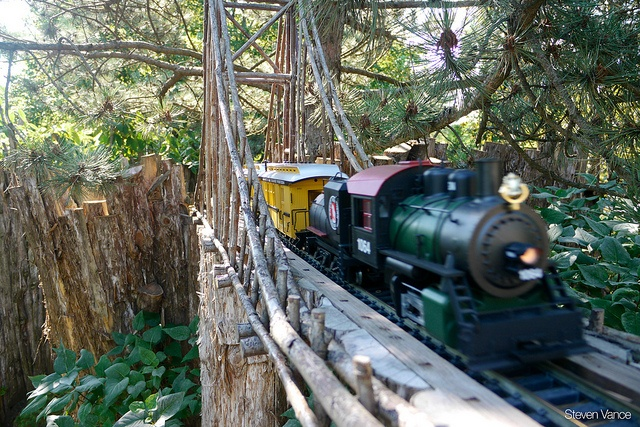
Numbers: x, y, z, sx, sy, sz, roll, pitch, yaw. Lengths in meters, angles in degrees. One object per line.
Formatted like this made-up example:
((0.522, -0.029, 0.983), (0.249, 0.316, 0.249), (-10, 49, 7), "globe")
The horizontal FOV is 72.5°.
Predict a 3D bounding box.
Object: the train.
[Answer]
((1.366, 0.259, 7.987), (1.788, 2.230, 6.610), (-5, 8, -18), "train")
